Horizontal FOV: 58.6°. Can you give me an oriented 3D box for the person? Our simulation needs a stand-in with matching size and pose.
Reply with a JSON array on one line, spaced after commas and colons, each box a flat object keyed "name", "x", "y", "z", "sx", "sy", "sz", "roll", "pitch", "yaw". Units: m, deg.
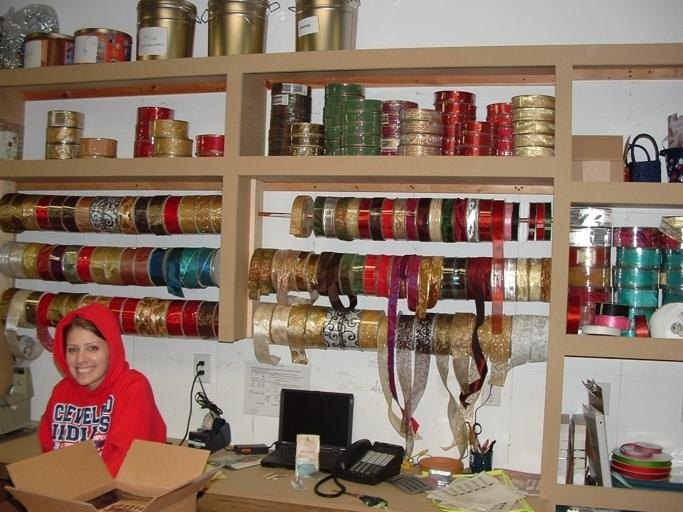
[{"name": "person", "x": -1.029, "y": 0.571, "z": 2.428, "sx": 0.502, "sy": 0.694, "sz": 0.494, "roll": -9, "pitch": -12, "yaw": 3}]

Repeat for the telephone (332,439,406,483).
[{"name": "telephone", "x": 0.133, "y": 0.914, "z": 2.711, "sx": 0.172, "sy": 0.086, "sz": 0.228, "roll": 0, "pitch": -1, "yaw": 28}]

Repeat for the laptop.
[{"name": "laptop", "x": -0.148, "y": 0.792, "z": 2.782, "sx": 0.385, "sy": 0.269, "sz": 0.289, "roll": 1, "pitch": -1, "yaw": 9}]

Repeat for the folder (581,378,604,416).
[{"name": "folder", "x": 1.088, "y": 0.603, "z": 2.609, "sx": 0.048, "sy": 0.109, "sz": 0.161, "roll": -3, "pitch": -10, "yaw": 9}]

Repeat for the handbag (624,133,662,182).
[{"name": "handbag", "x": 1.217, "y": -0.364, "z": 2.454, "sx": 0.124, "sy": 0.193, "sz": 0.078, "roll": -2, "pitch": -11, "yaw": -4}]
